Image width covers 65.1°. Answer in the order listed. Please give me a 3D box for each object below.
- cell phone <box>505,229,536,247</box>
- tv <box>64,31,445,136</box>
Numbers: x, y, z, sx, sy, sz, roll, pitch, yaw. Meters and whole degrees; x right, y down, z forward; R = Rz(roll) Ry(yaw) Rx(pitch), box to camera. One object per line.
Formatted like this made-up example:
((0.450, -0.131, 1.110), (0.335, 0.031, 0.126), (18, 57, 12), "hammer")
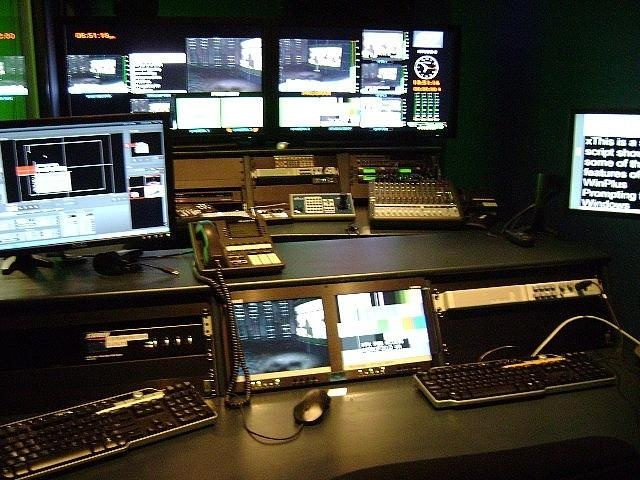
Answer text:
((0.814, -0.011, 2.037), (0.071, 0.022, 0.112), (-1, 13, -2), "cell phone")
((-0.322, -0.964, 3.096), (2.341, 0.693, 0.146), (-4, 22, -4), "tv")
